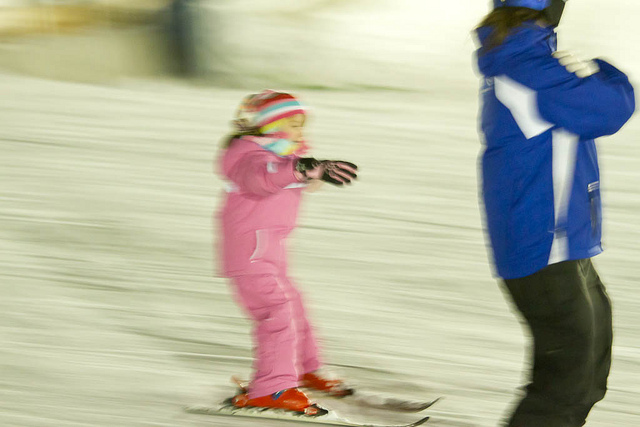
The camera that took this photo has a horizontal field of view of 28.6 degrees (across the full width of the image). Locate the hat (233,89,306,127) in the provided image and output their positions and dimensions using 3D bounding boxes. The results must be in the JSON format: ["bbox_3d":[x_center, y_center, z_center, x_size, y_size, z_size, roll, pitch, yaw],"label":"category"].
[{"bbox_3d":[-0.445,-0.871,10.373,0.606,0.134,0.335,-8,4,16],"label":"hat"}]
